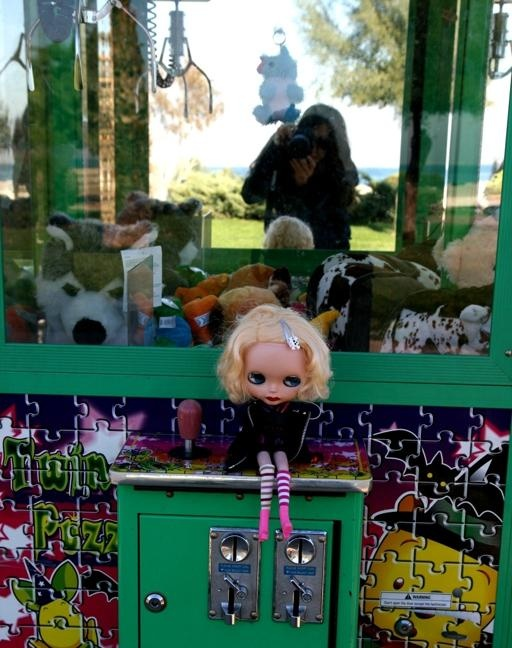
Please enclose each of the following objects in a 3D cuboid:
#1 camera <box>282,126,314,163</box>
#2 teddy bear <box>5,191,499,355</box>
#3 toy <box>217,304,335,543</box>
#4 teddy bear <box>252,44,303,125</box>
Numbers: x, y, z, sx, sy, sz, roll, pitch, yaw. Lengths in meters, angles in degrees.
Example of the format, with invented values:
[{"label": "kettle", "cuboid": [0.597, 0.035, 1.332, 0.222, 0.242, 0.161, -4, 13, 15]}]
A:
[{"label": "camera", "cuboid": [0.111, -0.475, 2.485, 0.081, 0.074, 0.081, 1, 10, 1]}, {"label": "teddy bear", "cuboid": [-0.026, -0.135, 2.382, 1.252, 0.392, 0.169, 2, 6, 2]}, {"label": "toy", "cuboid": [0.033, 0.230, 2.059, 0.282, 0.491, 0.232, 2, -16, -3]}, {"label": "teddy bear", "cuboid": [0.060, -0.610, 2.358, 0.124, 0.191, 0.049, 0, 6, -21]}]
